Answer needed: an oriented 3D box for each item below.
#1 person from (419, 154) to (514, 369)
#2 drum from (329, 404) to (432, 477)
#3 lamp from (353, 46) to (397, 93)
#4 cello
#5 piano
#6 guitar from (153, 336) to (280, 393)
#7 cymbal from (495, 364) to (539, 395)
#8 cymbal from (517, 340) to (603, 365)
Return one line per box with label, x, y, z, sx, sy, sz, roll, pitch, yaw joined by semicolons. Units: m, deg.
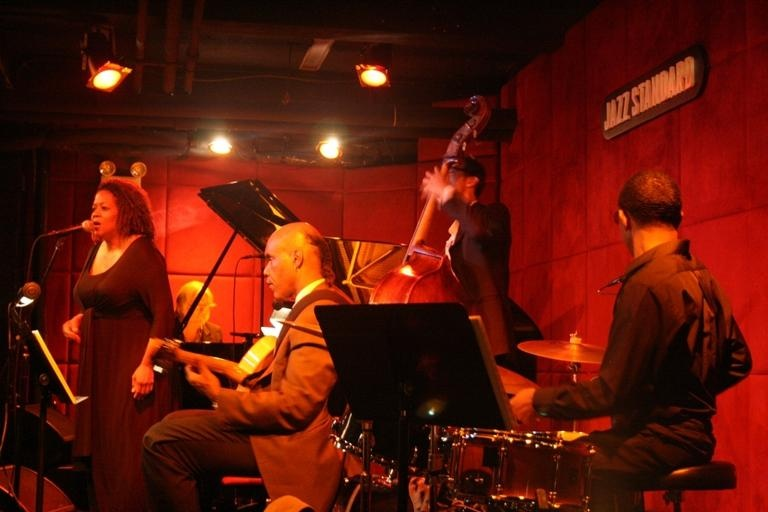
person;0.711;0.025;6.626;0.730;1.631;0.804;4;10;17
drum;-0.035;1.082;4.636;0.444;0.223;0.461;23;-17;8
lamp;-0.089;-1.800;7.858;0.326;0.410;0.160;4;5;1
cello;0.360;-0.286;6.225;0.829;1.842;0.793;3;10;2
piano;-0.839;-0.094;7.271;1.805;1.264;0.976;-1;0;-24
guitar;-1.055;0.654;4.766;0.887;0.385;1.698;2;-7;-10
cymbal;0.806;0.765;4.858;0.256;0.062;0.236;10;8;-20
cymbal;1.200;0.623;5.259;0.555;0.213;0.471;3;-1;-30
